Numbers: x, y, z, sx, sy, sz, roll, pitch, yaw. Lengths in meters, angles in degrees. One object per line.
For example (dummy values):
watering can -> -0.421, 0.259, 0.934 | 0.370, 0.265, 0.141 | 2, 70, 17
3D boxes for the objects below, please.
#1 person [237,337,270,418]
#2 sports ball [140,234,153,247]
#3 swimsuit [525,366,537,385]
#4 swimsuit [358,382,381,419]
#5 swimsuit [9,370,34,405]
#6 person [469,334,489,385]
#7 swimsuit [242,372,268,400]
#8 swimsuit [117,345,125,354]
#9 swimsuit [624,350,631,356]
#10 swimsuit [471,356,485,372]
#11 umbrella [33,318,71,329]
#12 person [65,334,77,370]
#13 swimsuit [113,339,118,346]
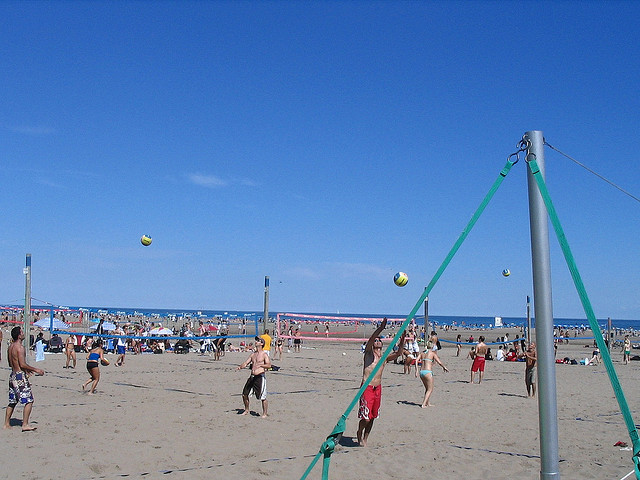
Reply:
person -> -1.440, 2.881, 12.918 | 0.656, 1.638, 2.678 | 3, -12, -5
sports ball -> -3.631, 0.007, 12.418 | 0.146, 0.149, 0.167 | 17, 21, -25
swimsuit -> 5.151, 3.290, 14.496 | 0.221, 0.409, 0.603 | -1, -12, 14
swimsuit -> 0.813, 2.626, 9.703 | 0.321, 0.554, 0.437 | 2, -11, 1
swimsuit -> -5.104, 2.492, 10.102 | 0.390, 0.548, 0.268 | 3, -11, -1
person -> 4.450, 3.333, 16.762 | 0.406, 1.385, 0.395 | 7, -2, -16
swimsuit -> -1.305, 2.905, 11.922 | 0.451, 0.515, 0.640 | 4, -12, -8
swimsuit -> -6.963, 3.790, 20.751 | 0.269, 0.336, 0.282 | -4, -8, 13
swimsuit -> 12.556, 4.591, 24.383 | 0.301, 0.229, 0.170 | 3, -8, -31
swimsuit -> 4.429, 3.435, 16.622 | 0.311, 0.408, 0.398 | 0, -12, 10
umbrella -> -11.573, 3.599, 25.681 | 1.321, 0.583, 3.717 | 8, -13, -24
person -> -8.093, 3.617, 19.366 | 0.407, 1.069, 1.875 | 7, -13, -22
swimsuit -> -8.289, 4.110, 24.071 | 0.060, 0.295, 2.260 | 6, -13, -21
